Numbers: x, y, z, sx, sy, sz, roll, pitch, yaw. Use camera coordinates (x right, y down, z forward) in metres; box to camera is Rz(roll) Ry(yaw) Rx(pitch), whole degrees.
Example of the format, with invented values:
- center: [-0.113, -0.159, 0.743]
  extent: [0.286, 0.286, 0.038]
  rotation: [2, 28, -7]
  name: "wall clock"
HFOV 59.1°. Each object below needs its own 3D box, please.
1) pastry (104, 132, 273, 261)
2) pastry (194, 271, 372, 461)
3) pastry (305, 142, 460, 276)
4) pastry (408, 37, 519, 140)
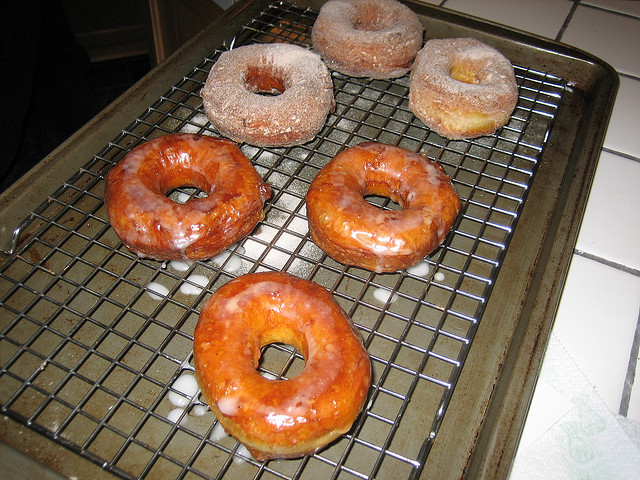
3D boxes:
- center: [-0.554, -0.187, 2.279]
  extent: [0.541, 0.194, 0.583]
  rotation: [25, 53, 5]
  name: "pastry"
- center: [-0.169, 0.436, 2.094]
  extent: [0.690, 0.253, 0.766]
  rotation: [31, 40, 4]
  name: "pastry"
- center: [0.267, -0.150, 2.272]
  extent: [0.524, 0.188, 0.557]
  rotation: [-20, 56, -14]
  name: "pastry"
- center: [0.663, -0.746, 2.673]
  extent: [0.474, 0.172, 0.498]
  rotation: [-19, 62, -12]
  name: "pastry"
